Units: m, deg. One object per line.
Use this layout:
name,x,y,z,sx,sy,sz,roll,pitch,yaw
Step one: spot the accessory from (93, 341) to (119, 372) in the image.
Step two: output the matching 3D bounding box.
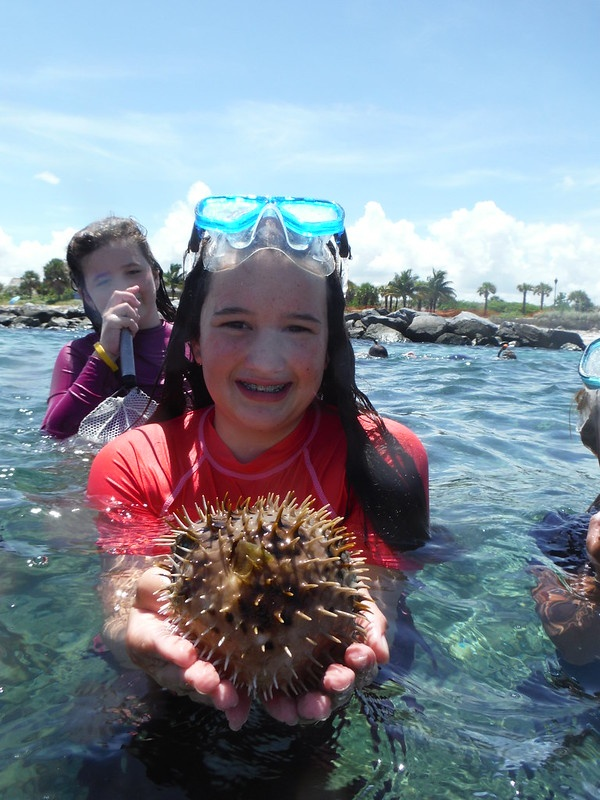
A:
accessory,-1.424,-0.316,4.522,0.053,0.203,0.184,-47,19,-17

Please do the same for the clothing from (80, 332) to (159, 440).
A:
clothing,-1.194,-0.116,4.177,0.682,0.718,0.700,-3,-5,-12

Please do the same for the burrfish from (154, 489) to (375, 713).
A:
burrfish,-0.106,0.400,1.548,0.533,0.502,0.519,-1,14,-20
